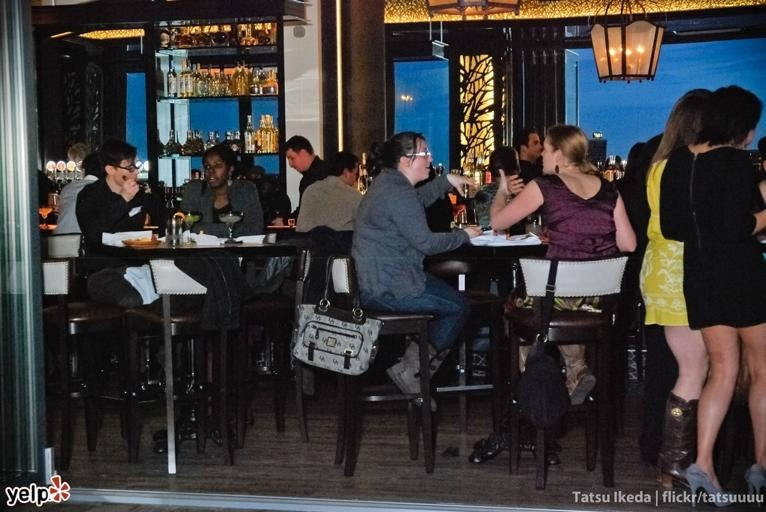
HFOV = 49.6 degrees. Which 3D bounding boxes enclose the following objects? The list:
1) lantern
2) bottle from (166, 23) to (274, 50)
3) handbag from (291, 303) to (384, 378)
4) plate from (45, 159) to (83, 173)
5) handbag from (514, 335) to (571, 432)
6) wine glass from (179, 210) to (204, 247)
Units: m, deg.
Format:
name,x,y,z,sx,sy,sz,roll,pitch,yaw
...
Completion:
name,x,y,z,sx,sy,sz,roll,pitch,yaw
lantern,2.055,-1.731,6.962,0.521,0.376,0.528,0,-1,2
bottle,-1.482,-1.969,7.439,1.055,0.212,0.193,-3,12,-10
handbag,-0.286,0.474,4.833,0.468,0.430,0.198,10,-6,12
plate,-3.252,-0.893,8.376,0.279,0.077,0.283,0,1,-5
handbag,0.907,0.737,4.677,0.302,0.434,0.156,2,-6,12
wine glass,-1.242,-0.162,5.330,0.183,0.244,0.184,2,-4,-6
